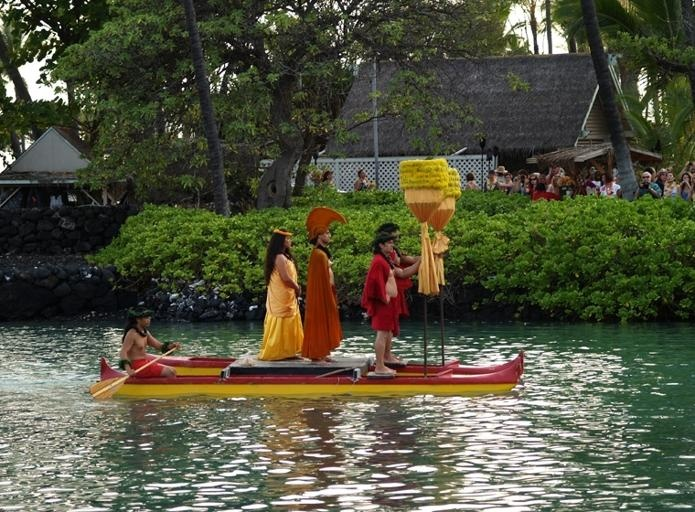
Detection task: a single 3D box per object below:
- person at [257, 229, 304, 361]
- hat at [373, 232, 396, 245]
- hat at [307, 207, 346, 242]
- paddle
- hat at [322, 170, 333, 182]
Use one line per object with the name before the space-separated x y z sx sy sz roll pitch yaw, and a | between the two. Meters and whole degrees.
person | -1.144 0.657 19.220 0.706 2.043 0.417 -3 1 -5
hat | 0.584 -0.272 18.439 0.223 0.115 0.191 -8 -3 44
hat | -0.398 -0.595 19.086 0.618 0.493 0.342 1 12 9
paddle | -3.456 1.925 18.604 1.467 0.058 0.249 -33 13 -27
hat | -0.560 -2.354 33.126 0.276 0.357 0.361 4 -8 0
